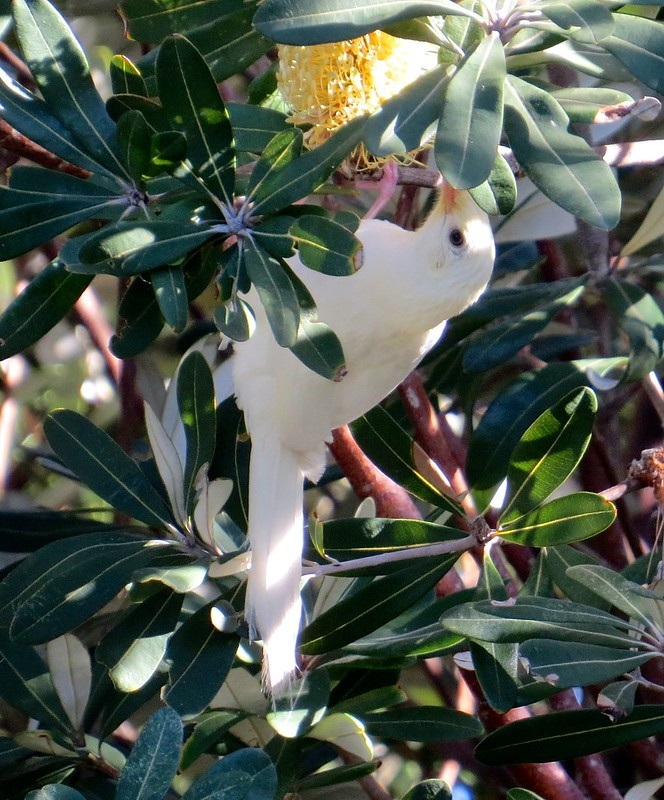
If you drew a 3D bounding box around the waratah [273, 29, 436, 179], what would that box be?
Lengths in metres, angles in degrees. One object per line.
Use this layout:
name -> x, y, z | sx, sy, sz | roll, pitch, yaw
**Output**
waratah -> 0.024, -0.200, 0.821 | 0.114, 0.113, 0.089 | -7, 79, -2
